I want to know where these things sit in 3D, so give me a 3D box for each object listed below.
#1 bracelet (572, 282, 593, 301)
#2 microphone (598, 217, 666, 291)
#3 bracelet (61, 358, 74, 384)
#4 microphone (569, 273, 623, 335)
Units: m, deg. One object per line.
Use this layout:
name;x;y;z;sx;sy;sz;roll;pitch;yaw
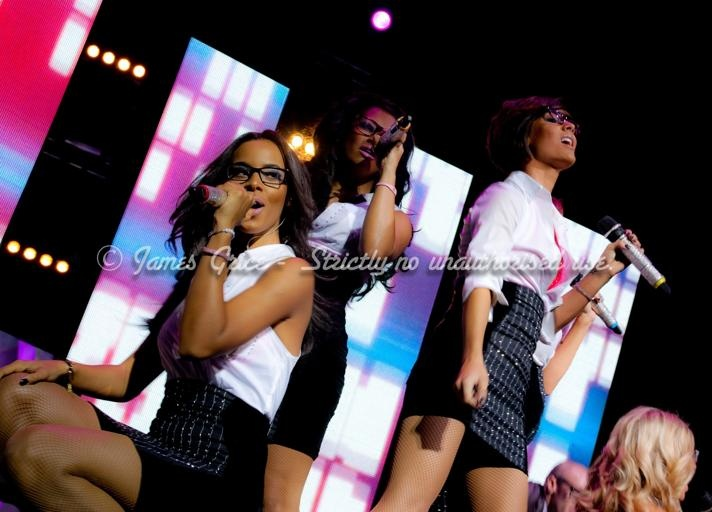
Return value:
bracelet;1.011;0.161;2.658;0.083;0.024;0.080;43;12;22
microphone;1.520;0.004;3.241;0.480;0.119;0.113;53;36;10
bracelet;-1.014;0.411;2.069;0.030;0.062;0.043;4;-2;-29
microphone;1.236;0.261;3.058;0.412;0.109;0.093;50;36;4
